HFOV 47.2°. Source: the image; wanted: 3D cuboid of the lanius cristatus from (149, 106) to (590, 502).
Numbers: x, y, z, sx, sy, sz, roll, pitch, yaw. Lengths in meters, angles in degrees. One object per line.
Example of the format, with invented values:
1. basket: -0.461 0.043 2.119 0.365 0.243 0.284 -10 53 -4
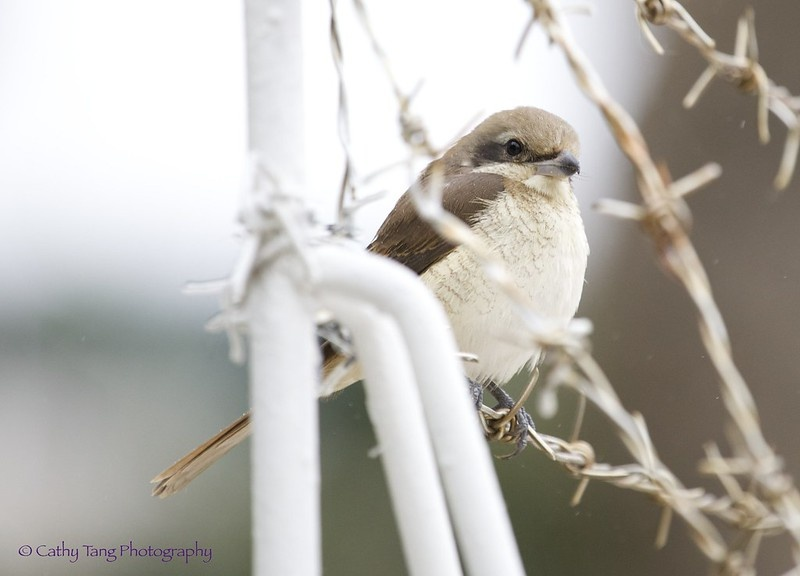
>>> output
1. lanius cristatus: 0.124 -0.014 2.129 0.682 0.780 0.425 -11 -16 -15
